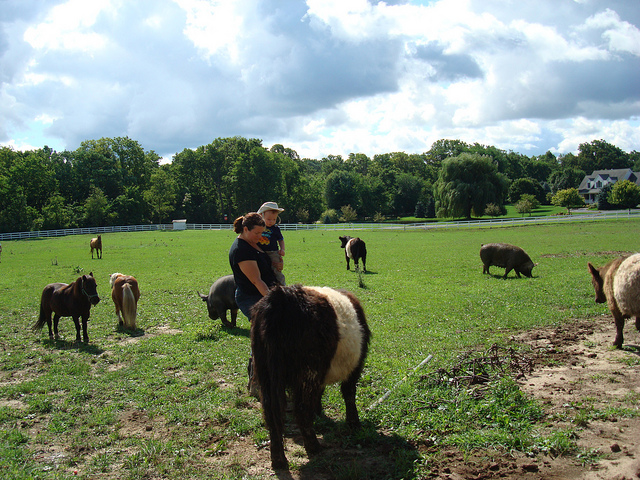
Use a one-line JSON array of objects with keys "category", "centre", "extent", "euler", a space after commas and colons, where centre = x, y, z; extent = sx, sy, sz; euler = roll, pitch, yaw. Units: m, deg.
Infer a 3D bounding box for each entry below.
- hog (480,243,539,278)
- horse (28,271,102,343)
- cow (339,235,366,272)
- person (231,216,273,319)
[{"category": "hog", "centre": [7.602, 0.879, 23.136], "extent": [0.722, 1.238, 2.265], "euler": [-13, 17, -37]}, {"category": "horse", "centre": [-7.107, 1.910, 15.925], "extent": [2.622, 1.833, 0.768], "euler": [-5, -1, 30]}, {"category": "cow", "centre": [1.548, 0.643, 27.899], "extent": [0.760, 1.811, 2.570], "euler": [-6, 4, -15]}, {"category": "person", "centre": [-1.340, 0.509, 11.354], "extent": [0.730, 2.221, 0.707], "euler": [-11, 43, -5]}]
